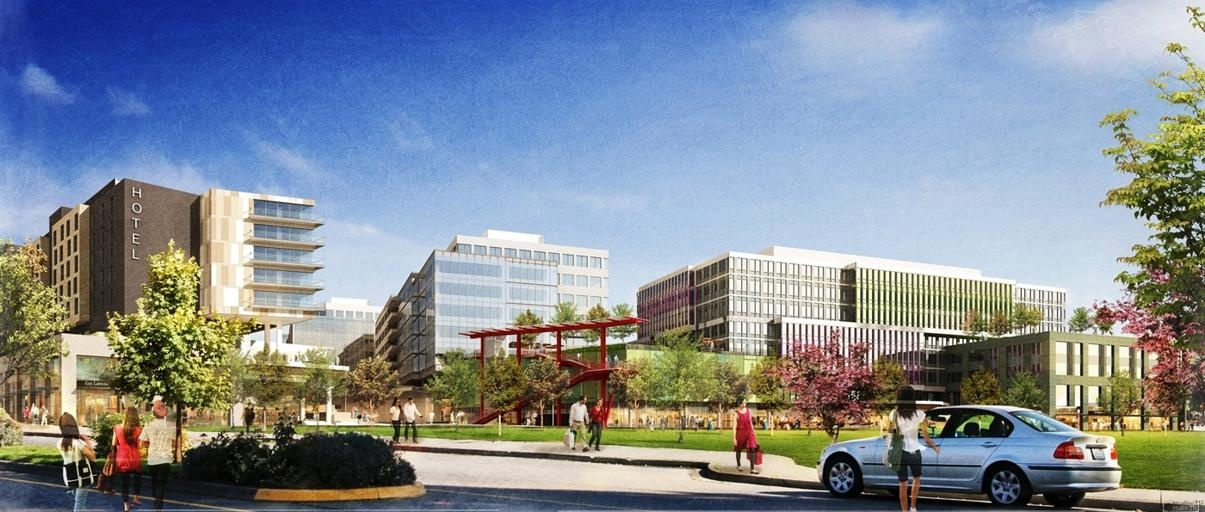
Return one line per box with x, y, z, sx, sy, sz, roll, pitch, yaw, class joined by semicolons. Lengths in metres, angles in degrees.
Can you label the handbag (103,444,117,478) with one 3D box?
-41.650;17.490;91.118;0.739;2.054;1.296;9;-17;-26;handbag
